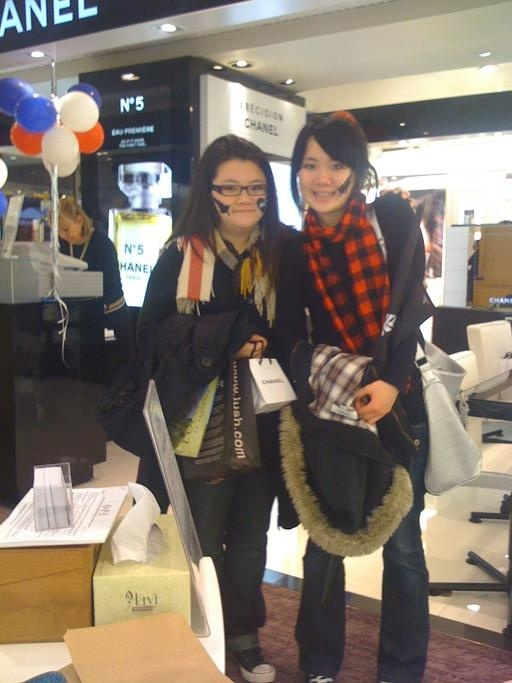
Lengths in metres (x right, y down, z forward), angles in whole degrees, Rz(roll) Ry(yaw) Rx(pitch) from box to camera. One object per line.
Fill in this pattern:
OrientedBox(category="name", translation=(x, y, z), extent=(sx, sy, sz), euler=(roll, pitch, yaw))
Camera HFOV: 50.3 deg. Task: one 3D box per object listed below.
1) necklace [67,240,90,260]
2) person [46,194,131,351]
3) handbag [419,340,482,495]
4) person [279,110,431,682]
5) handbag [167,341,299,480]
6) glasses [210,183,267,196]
OrientedBox(category="necklace", translation=(-1.248, -0.644, 3.806), extent=(0.181, 0.072, 0.269), euler=(4, 4, -23))
OrientedBox(category="person", translation=(-1.142, -0.474, 3.861), extent=(0.484, 1.057, 0.277), euler=(-2, 9, -16))
OrientedBox(category="handbag", translation=(0.518, 0.207, 1.511), extent=(0.189, 0.415, 0.188), euler=(1, 9, 0))
OrientedBox(category="person", translation=(0.258, 0.178, 1.542), extent=(0.271, 1.598, 0.488), euler=(-6, 11, -37))
OrientedBox(category="handbag", translation=(-0.069, 0.174, 1.437), extent=(0.239, 0.267, 0.138), euler=(-32, -41, 18))
OrientedBox(category="glasses", translation=(-0.051, -0.445, 1.605), extent=(0.159, 0.040, 0.041), euler=(1, 10, -3))
